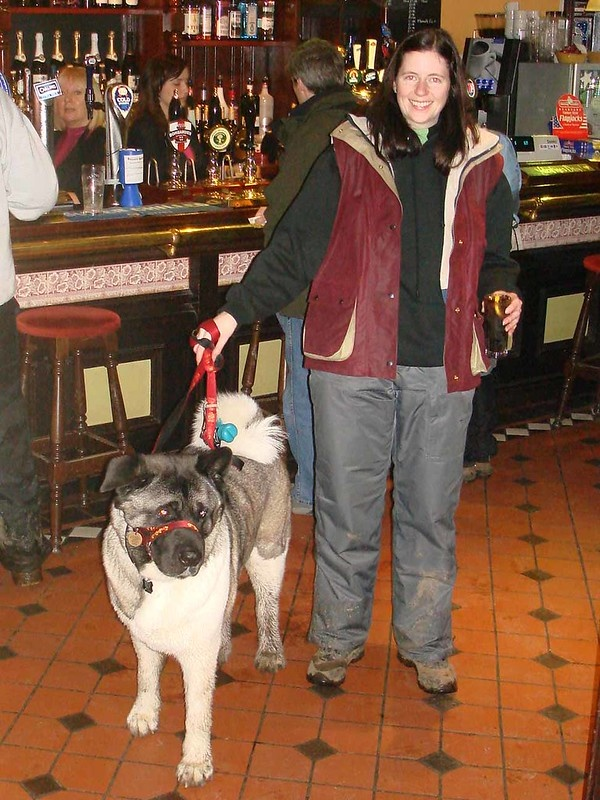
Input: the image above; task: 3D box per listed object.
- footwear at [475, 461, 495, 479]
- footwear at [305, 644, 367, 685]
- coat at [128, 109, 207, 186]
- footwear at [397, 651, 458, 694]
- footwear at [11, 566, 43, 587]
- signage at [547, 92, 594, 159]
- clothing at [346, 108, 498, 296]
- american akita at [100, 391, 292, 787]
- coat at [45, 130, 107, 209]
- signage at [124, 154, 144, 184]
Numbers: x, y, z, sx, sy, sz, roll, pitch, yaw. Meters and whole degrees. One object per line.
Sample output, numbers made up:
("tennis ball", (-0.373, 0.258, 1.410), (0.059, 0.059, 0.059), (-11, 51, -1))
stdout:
("footwear", (0.973, 0.377, 3.957), (0.133, 0.117, 0.074), (0, -11, 7))
("footwear", (0.104, 0.807, 2.274), (0.083, 0.082, 0.189), (8, 4, 25))
("coat", (-0.694, -1.540, 4.344), (0.577, 0.474, 0.292), (-2, 23, -5))
("footwear", (0.404, 0.822, 2.240), (0.080, 0.062, 0.156), (-1, 6, -22))
("footwear", (-1.013, 0.664, 2.754), (0.092, 0.077, 0.085), (3, -2, -43))
("signage", (1.878, -1.890, 5.052), (0.304, 0.480, 0.489), (5, 13, 13))
("clothing", (0.348, -0.472, 1.826), (0.294, 0.434, 0.125), (2, 14, 4))
("american akita", (-0.272, 0.485, 2.036), (0.337, 0.820, 1.073), (6, 10, 11))
("coat", (-1.460, -1.629, 4.956), (0.458, 0.686, 0.437), (-1, 25, -14))
("signage", (-0.751, -1.058, 3.344), (0.087, 0.144, 0.037), (-7, 16, -35))
